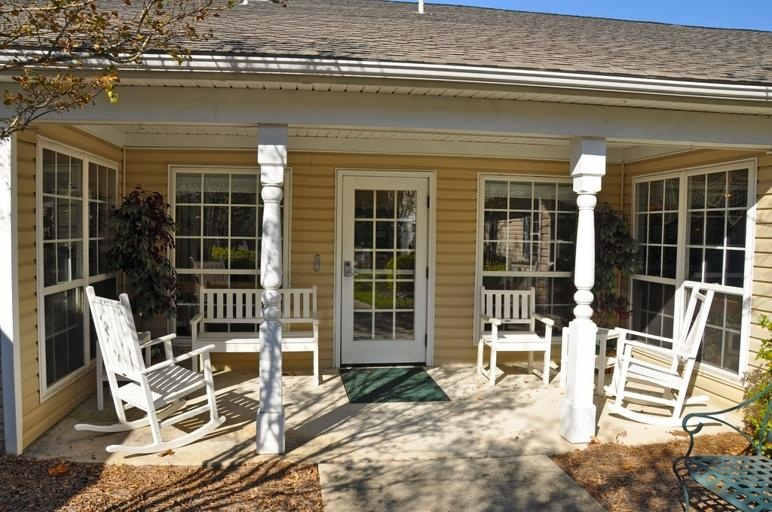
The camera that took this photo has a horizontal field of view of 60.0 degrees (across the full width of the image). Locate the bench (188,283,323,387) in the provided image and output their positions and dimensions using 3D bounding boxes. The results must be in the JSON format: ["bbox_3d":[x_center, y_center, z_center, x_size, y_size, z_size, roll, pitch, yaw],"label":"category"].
[{"bbox_3d":[-1.713,0.978,8.404,1.460,1.019,0.562,0,-2,-8],"label":"bench"}]

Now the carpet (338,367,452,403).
[{"bbox_3d":[0.093,1.681,8.605,1.303,0.183,1.003,-1,3,-6],"label":"carpet"}]

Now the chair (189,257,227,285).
[{"bbox_3d":[-2.386,0.216,9.010,0.383,0.468,0.365,0,-3,-13],"label":"chair"}]

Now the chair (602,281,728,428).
[{"bbox_3d":[3.345,1.158,8.082,1.134,1.573,1.629,0,3,26],"label":"chair"}]

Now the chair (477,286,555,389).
[{"bbox_3d":[1.730,1.058,9.006,0.979,1.133,0.894,2,5,8],"label":"chair"}]

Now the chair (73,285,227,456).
[{"bbox_3d":[-2.562,1.188,7.080,1.183,1.721,1.106,1,3,32],"label":"chair"}]
